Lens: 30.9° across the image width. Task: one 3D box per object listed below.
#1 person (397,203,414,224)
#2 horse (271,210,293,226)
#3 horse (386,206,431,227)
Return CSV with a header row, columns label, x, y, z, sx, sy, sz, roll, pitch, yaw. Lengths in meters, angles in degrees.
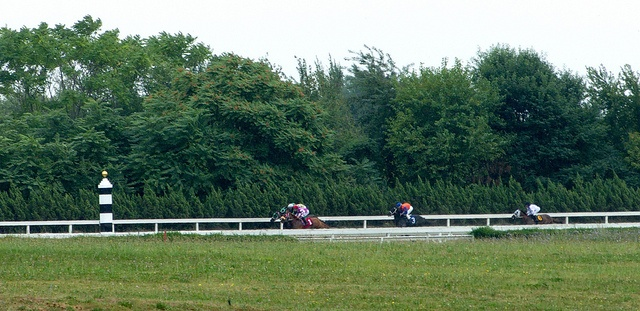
label,x,y,z,sx,sy,sz,roll,pitch,yaw
person,8.354,5.563,111.961,1.492,1.958,0.665,-4,-6,-9
horse,-3.724,5.933,110.418,1.830,1.732,1.237,-3,-6,-20
horse,8.500,6.140,112.714,3.529,1.421,1.747,7,-2,7
